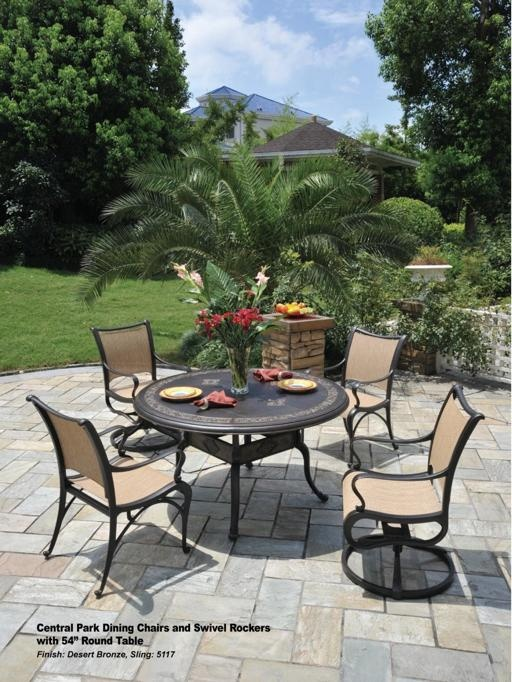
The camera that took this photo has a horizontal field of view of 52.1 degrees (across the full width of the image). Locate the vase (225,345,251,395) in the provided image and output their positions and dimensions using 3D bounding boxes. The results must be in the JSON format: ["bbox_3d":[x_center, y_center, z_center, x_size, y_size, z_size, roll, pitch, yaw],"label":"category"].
[{"bbox_3d":[-0.141,0.211,3.691,0.224,0.330,0.211,-4,2,-16],"label":"vase"}]

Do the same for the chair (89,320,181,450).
[{"bbox_3d":[-1.103,0.493,5.361,0.971,1.176,0.932,-1,-11,5],"label":"chair"}]

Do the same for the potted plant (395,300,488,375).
[{"bbox_3d":[2.402,-0.053,7.031,0.627,1.051,1.285,-6,11,-27],"label":"potted plant"}]

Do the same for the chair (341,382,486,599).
[{"bbox_3d":[0.763,0.782,2.778,0.611,1.074,0.806,2,10,12],"label":"chair"}]

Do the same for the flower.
[{"bbox_3d":[-0.211,-0.104,3.628,0.822,0.847,0.621,-1,-5,-40],"label":"flower"}]

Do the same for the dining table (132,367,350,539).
[{"bbox_3d":[-0.050,0.519,3.342,1.136,0.599,1.122,-19,26,-40],"label":"dining table"}]

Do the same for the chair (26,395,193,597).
[{"bbox_3d":[-0.783,0.765,2.922,0.644,0.894,0.741,8,10,33],"label":"chair"}]

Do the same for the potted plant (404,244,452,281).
[{"bbox_3d":[2.567,-1.174,7.931,0.608,0.507,0.548,2,10,14],"label":"potted plant"}]
